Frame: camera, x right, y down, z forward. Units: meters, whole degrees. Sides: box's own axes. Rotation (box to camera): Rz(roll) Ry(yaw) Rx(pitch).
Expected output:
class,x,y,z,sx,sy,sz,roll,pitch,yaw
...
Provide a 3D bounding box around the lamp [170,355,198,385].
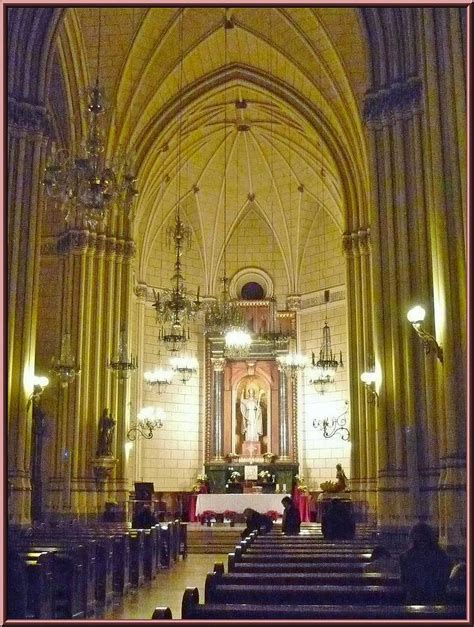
class,x,y,z,sx,sy,sz,roll,pitch,yaw
lamp,-1.628,1.687,21.959,0.734,1.284,0.814,5,-10,-21

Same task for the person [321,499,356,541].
class,x,y,z,sx,sy,sz,roll,pitch,yaw
person,1.376,2.780,9.983,0.434,0.541,1.433,-3,-15,7

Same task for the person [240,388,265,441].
class,x,y,z,sx,sy,sz,roll,pitch,yaw
person,0.555,3.661,26.630,0.836,1.941,0.436,-1,-10,0

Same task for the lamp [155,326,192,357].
class,x,y,z,sx,sy,sz,roll,pitch,yaw
lamp,-2.012,0.859,22.495,0.674,1.375,0.827,2,0,12

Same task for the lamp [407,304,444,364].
class,x,y,z,sx,sy,sz,roll,pitch,yaw
lamp,2.483,0.275,9.591,0.346,0.906,0.254,2,24,24

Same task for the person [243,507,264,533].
class,x,y,z,sx,sy,sz,roll,pitch,yaw
person,0.303,3.534,12.661,0.326,0.387,0.924,-2,-15,1

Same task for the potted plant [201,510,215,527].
class,x,y,z,sx,sy,sz,roll,pitch,yaw
potted plant,-0.754,5.392,19.441,0.390,0.584,0.495,0,-18,-4

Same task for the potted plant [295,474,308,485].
class,x,y,z,sx,sy,sz,roll,pitch,yaw
potted plant,2.241,5.741,25.275,0.340,0.599,0.377,-5,-8,35

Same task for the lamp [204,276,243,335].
class,x,y,z,sx,sy,sz,roll,pitch,yaw
lamp,-0.321,-0.208,19.099,0.995,0.469,2.019,-6,-44,-9

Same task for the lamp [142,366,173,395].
class,x,y,z,sx,sy,sz,roll,pitch,yaw
lamp,-2.476,2.053,22.552,0.796,1.109,0.823,-4,-7,43

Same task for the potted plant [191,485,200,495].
class,x,y,z,sx,sy,sz,roll,pitch,yaw
potted plant,-1.337,5.913,24.757,0.212,0.316,0.235,4,-12,-20

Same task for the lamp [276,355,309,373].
class,x,y,z,sx,sy,sz,roll,pitch,yaw
lamp,1.796,1.553,22.698,0.568,0.502,0.682,4,-6,-14

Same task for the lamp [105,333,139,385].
class,x,y,z,sx,sy,sz,roll,pitch,yaw
lamp,-2.681,0.889,17.368,0.683,1.482,0.777,-2,-9,36

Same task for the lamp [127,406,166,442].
class,x,y,z,sx,sy,sz,roll,pitch,yaw
lamp,-2.838,3.430,22.915,1.241,1.166,0.984,-11,-11,22

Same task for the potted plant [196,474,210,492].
class,x,y,z,sx,sy,sz,roll,pitch,yaw
potted plant,-1.145,5.771,25.016,0.384,0.750,0.452,1,-14,-7

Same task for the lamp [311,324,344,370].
class,x,y,z,sx,sy,sz,roll,pitch,yaw
lamp,2.892,1.049,23.492,0.855,1.791,1.081,-2,-3,1

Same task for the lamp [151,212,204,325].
class,x,y,z,sx,sy,sz,roll,pitch,yaw
lamp,-1.273,-0.878,16.310,0.872,2.548,1.031,-8,-19,16

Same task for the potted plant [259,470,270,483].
class,x,y,z,sx,sy,sz,roll,pitch,yaw
potted plant,0.985,5.560,25.161,0.228,0.345,0.304,0,-18,1

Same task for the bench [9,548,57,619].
class,x,y,z,sx,sy,sz,roll,pitch,yaw
bench,-1.749,2.260,6.070,0.236,0.549,0.821,-3,-14,8

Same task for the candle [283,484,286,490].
class,x,y,z,sx,sy,sz,roll,pitch,yaw
candle,1.623,5.874,25.036,0.093,0.258,0.117,0,-9,-3

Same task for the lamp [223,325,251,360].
class,x,y,z,sx,sy,sz,roll,pitch,yaw
lamp,0.020,0.654,19.457,0.587,1.140,0.750,2,-18,-5

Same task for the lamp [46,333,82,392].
class,x,y,z,sx,sy,sz,roll,pitch,yaw
lamp,-3.939,1.070,16.908,0.587,1.460,0.659,-2,11,-26

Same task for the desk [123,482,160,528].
class,x,y,z,sx,sy,sz,roll,pitch,yaw
desk,-2.600,5.192,20.044,0.599,1.183,0.627,-3,-10,41

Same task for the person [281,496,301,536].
class,x,y,z,sx,sy,sz,roll,pitch,yaw
person,0.897,3.326,12.167,0.283,0.599,0.897,-2,-14,3
